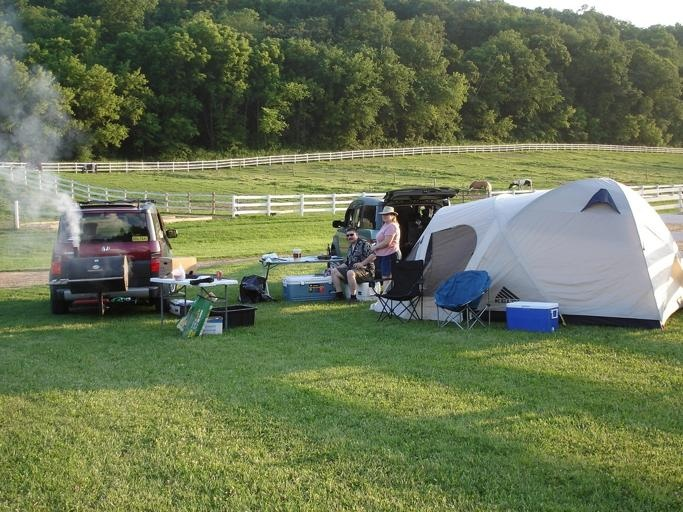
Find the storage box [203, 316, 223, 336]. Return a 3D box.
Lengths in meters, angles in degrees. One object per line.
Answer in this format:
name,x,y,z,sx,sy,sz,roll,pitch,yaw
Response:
storage box,-2.133,1.176,14.276,0.372,0.301,0.223,0,-5,-4

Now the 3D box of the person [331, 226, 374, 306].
person,0.214,0.168,16.846,0.838,1.448,0.954,-2,-1,11

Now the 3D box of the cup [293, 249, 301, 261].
cup,-0.912,-0.022,17.629,0.190,0.378,0.211,0,2,0

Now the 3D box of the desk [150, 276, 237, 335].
desk,-2.683,0.831,15.308,1.308,0.996,2.872,1,0,-13

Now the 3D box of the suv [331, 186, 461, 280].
suv,0.721,-0.578,18.497,1.580,1.700,2.641,-2,4,-40

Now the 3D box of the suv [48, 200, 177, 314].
suv,-4.119,-0.039,15.203,1.397,1.363,2.514,0,9,-3
